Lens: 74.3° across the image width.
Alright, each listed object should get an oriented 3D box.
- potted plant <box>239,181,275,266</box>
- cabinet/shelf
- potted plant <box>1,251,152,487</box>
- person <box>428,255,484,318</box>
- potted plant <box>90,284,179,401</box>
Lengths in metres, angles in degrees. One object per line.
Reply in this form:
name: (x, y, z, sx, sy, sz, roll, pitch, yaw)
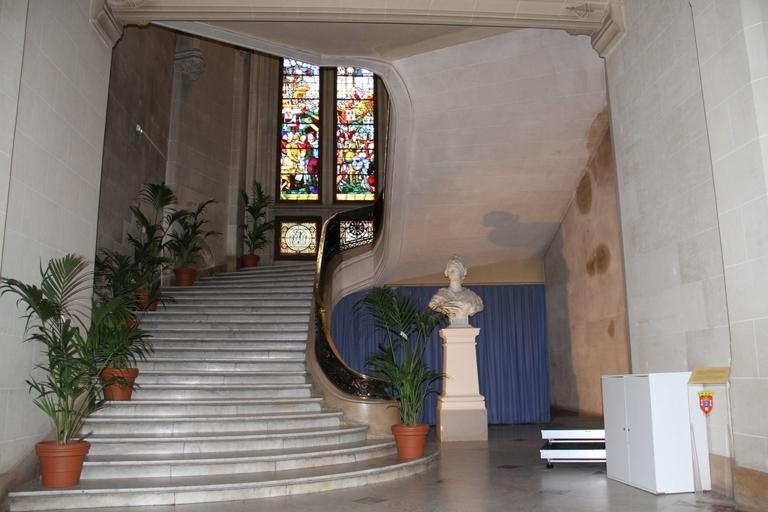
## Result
potted plant: (-3.322, -0.887, 13.228, 0.820, 2.407, 1.283, -3, -6, -12)
cabinet/shelf: (2.397, 1.612, 4.677, 0.381, 1.113, 0.772, -1, -7, -26)
potted plant: (-3.040, 1.051, 5.168, 0.967, 2.245, 1.623, -2, -7, -17)
person: (1.360, 0.587, 10.064, 1.393, 1.757, 0.569, 1, -15, 0)
potted plant: (-2.920, 1.004, 5.924, 0.866, 1.190, 0.858, -6, 2, -7)
